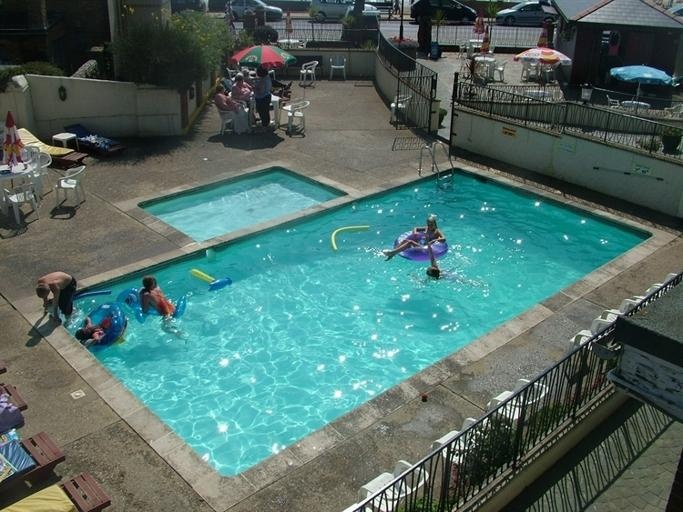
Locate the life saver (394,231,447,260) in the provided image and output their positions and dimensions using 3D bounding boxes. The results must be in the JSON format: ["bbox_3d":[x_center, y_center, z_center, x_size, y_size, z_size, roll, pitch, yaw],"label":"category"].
[{"bbox_3d":[1.980,-0.173,12.149,0.803,0.227,0.807,-12,28,-17],"label":"life saver"}]

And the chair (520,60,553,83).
[{"bbox_3d":[9.306,-8.735,24.676,0.929,1.285,0.723,-12,43,-6],"label":"chair"}]

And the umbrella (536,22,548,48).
[{"bbox_3d":[10.150,-11.021,26.037,0.378,1.062,0.914,11,28,15],"label":"umbrella"}]

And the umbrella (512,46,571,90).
[{"bbox_3d":[8.687,-8.159,22.828,1.761,0.640,1.792,10,27,29],"label":"umbrella"}]

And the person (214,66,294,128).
[{"bbox_3d":[-3.147,-5.923,19.125,1.232,2.814,1.136,1,4,11],"label":"person"}]

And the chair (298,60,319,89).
[{"bbox_3d":[-1.637,-9.001,25.632,0.811,0.973,2.301,1,28,-5],"label":"chair"}]

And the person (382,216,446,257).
[{"bbox_3d":[1.698,-0.398,12.292,1.225,0.702,0.907,-18,30,-15],"label":"person"}]

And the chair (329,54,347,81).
[{"bbox_3d":[-0.180,-9.641,26.619,0.867,1.108,1.164,3,27,-2],"label":"chair"}]

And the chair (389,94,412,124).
[{"bbox_3d":[2.383,-5.798,20.617,0.868,1.159,0.958,4,55,3],"label":"chair"}]

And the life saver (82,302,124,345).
[{"bbox_3d":[-4.387,1.236,9.929,0.868,0.887,0.267,19,-6,38],"label":"life saver"}]

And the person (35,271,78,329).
[{"bbox_3d":[-5.387,0.743,9.893,0.532,1.096,0.747,4,43,-10],"label":"person"}]
